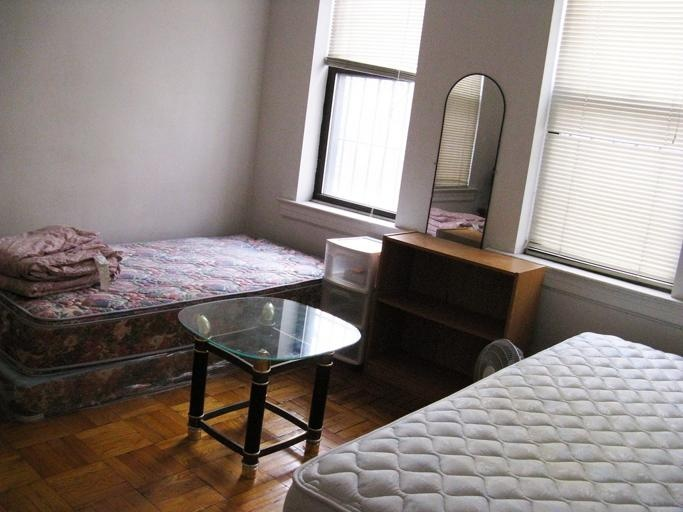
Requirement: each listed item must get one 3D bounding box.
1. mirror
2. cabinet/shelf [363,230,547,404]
[{"bbox_3d":[0.772,-0.590,3.213,0.410,1.013,0.252,13,22,23],"label":"mirror"},{"bbox_3d":[0.661,0.337,3.003,0.924,0.882,0.353,21,20,39],"label":"cabinet/shelf"}]
